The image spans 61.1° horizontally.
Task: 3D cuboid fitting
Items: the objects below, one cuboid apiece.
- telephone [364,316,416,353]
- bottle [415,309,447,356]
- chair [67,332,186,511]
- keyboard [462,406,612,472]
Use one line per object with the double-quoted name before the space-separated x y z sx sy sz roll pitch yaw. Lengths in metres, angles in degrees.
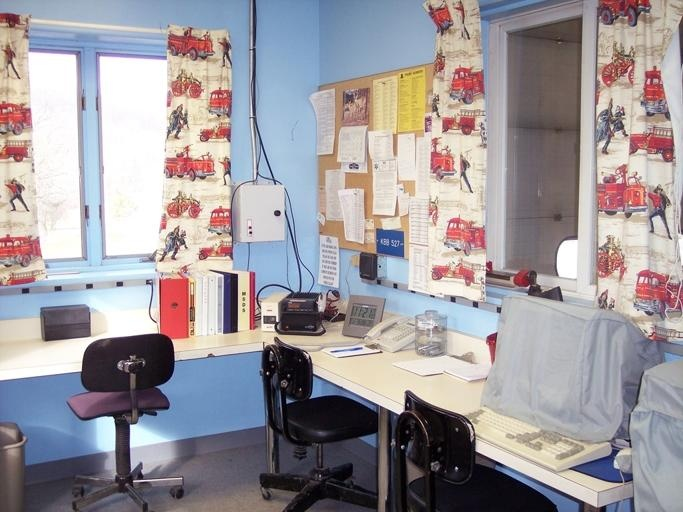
"telephone" 0.333 0.433 3.376 0.307 0.085 0.318 0 27 4
"bottle" 0.494 0.424 3.220 0.195 0.226 0.195 -4 5 -39
"chair" -1.290 0.949 3.390 0.645 1.073 0.501 -3 7 -14
"keyboard" 0.736 0.716 2.251 0.535 0.084 0.249 4 8 38
